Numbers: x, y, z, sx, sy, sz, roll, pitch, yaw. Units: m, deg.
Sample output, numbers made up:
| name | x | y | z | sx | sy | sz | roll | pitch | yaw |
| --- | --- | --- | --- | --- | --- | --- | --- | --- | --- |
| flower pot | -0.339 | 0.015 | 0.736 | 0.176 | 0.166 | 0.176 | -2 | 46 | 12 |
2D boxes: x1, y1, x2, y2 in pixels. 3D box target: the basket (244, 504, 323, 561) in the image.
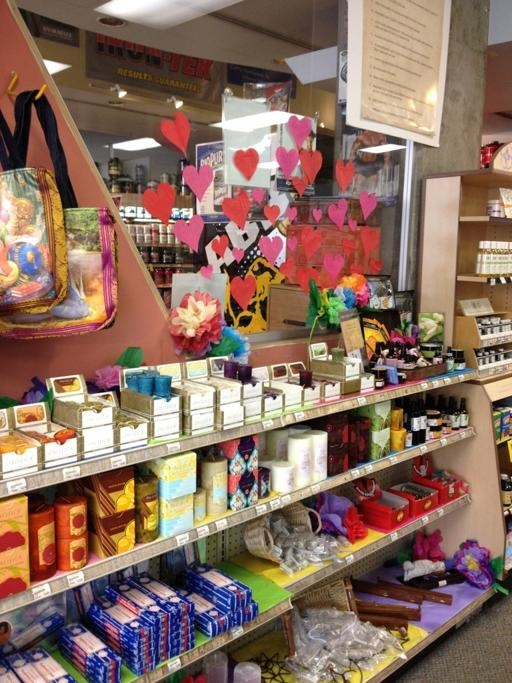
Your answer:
| name | x | y | z | sx | sy | sz | roll | pitch | yaw |
| --- | --- | --- | --- | --- | --- | --- | --- | --- | --- |
| basket | 0.111 | 0.863 | 2.396 | 0.218 | 0.231 | 0.407 | 3 | 10 | 32 |
